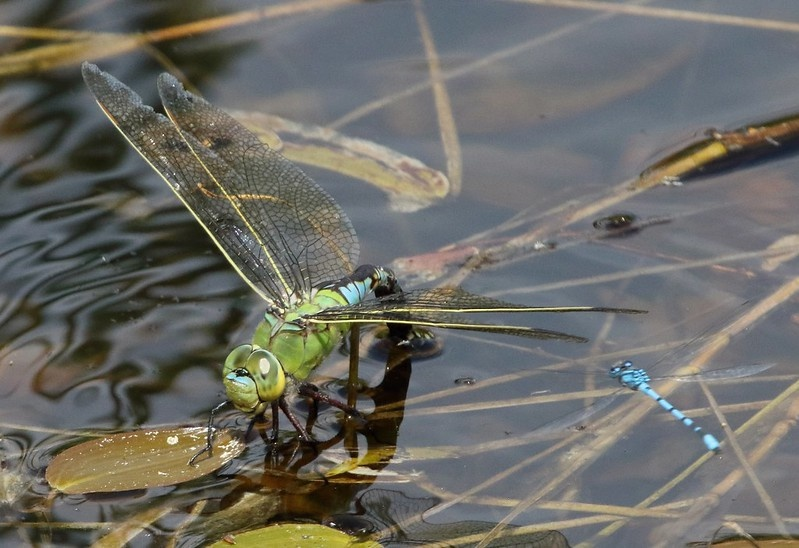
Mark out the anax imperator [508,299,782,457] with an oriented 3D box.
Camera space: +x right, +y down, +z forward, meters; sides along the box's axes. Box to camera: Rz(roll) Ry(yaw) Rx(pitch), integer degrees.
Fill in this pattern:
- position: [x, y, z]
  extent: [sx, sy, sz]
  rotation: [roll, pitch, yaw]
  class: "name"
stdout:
- position: [1.594, 0.709, 5.895]
  extent: [1.329, 0.126, 0.642]
  rotation: [-18, 41, -7]
  class: "anax imperator"
